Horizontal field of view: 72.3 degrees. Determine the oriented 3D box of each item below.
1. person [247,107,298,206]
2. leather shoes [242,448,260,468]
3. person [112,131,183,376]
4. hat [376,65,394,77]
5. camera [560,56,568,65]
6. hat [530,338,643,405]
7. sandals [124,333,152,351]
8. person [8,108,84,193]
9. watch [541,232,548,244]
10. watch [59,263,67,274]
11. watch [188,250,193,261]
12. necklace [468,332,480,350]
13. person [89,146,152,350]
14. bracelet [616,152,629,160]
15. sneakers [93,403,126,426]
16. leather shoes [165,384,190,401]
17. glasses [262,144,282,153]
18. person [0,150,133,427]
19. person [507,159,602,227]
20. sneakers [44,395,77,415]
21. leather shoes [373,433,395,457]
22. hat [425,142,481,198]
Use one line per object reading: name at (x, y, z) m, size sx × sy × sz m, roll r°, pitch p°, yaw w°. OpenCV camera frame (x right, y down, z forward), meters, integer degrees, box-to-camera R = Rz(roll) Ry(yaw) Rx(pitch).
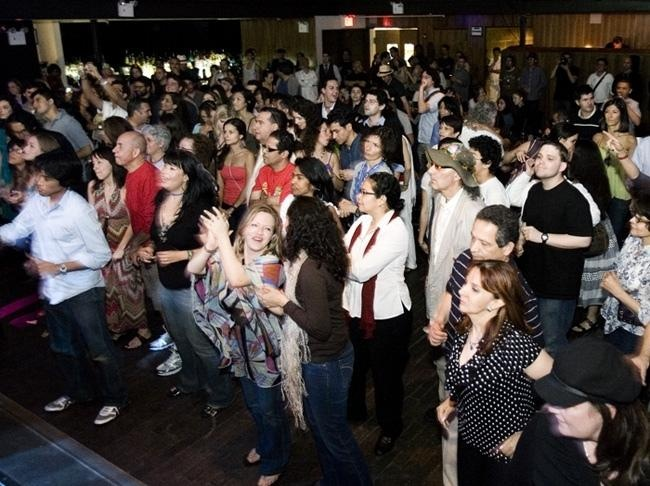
person at (-0.692, -1.084, 5.388) m, size 0.408 × 1.066 × 0.432 m, roll -9°, pitch 26°, yaw -43°
leather shoes at (-0.539, 1.599, 3.301) m, size 0.082 × 0.067 × 0.161 m, roll 6°, pitch 7°, yaw 11°
person at (-1.837, 0.168, 4.669) m, size 0.784 × 2.479 × 0.640 m, roll -2°, pitch 18°, yaw -4°
hat at (1.532, -4.327, 11.152) m, size 0.289 × 0.291 × 0.403 m, roll -4°, pitch 20°, yaw 1°
camera at (6.609, -5.005, 12.215) m, size 0.280 × 0.205 × 0.213 m, roll -3°, pitch 20°, yaw 5°
hat at (0.912, 0.443, 1.528) m, size 0.336 × 0.191 × 0.191 m, roll -5°, pitch 20°, yaw -2°
sandals at (-2.043, 1.082, 4.828) m, size 0.100 × 0.064 × 0.255 m, roll 3°, pitch 2°, yaw 20°
person at (-2.834, -0.830, 4.546) m, size 0.692 × 0.831 × 0.434 m, roll -2°, pitch -6°, yaw 0°
watch at (1.634, -0.044, 3.316) m, size 0.046 × 0.070 × 0.068 m, roll 10°, pitch -28°, yaw 18°
watch at (-1.986, 0.195, 3.390) m, size 0.041 × 0.062 × 0.060 m, roll -5°, pitch -16°, yaw -36°
watch at (-1.063, 0.099, 3.535) m, size 0.030 × 0.074 × 0.064 m, roll 8°, pitch 1°, yaw 2°
necklace at (0.749, 0.498, 2.236) m, size 0.015 × 0.053 × 0.054 m, roll 14°, pitch -15°, yaw -28°
person at (-2.148, 0.064, 4.634) m, size 0.796 × 2.366 × 0.594 m, roll 2°, pitch 26°, yaw -18°
bracelet at (3.049, -0.882, 4.523) m, size 0.135 × 0.059 × 0.102 m, roll -1°, pitch 5°, yaw 7°
sneakers at (-1.844, 1.470, 3.828) m, size 0.094 × 0.103 × 0.264 m, roll 2°, pitch -2°, yaw 13°
leather shoes at (-1.340, 1.352, 4.077) m, size 0.184 × 0.072 × 0.086 m, roll 2°, pitch 28°, yaw -20°
glasses at (-0.525, -0.930, 4.384) m, size 0.186 × 0.078 × 0.072 m, roll 7°, pitch 23°, yaw 30°
person at (-2.128, 0.396, 3.661) m, size 0.771 × 2.221 × 0.621 m, roll 7°, pitch 23°, yaw 28°
person at (1.956, -0.564, 4.057) m, size 0.705 × 0.255 × 0.710 m, roll 19°, pitch -13°, yaw 14°
sneakers at (-2.353, 1.427, 3.969) m, size 0.251 × 0.097 × 0.133 m, roll -7°, pitch 17°, yaw -39°
leather shoes at (0.442, 1.506, 3.317) m, size 0.089 × 0.072 × 0.183 m, roll 14°, pitch 48°, yaw 25°
hat at (0.910, -0.520, 3.242) m, size 0.422 × 0.309 × 0.149 m, roll 33°, pitch -41°, yaw -25°
